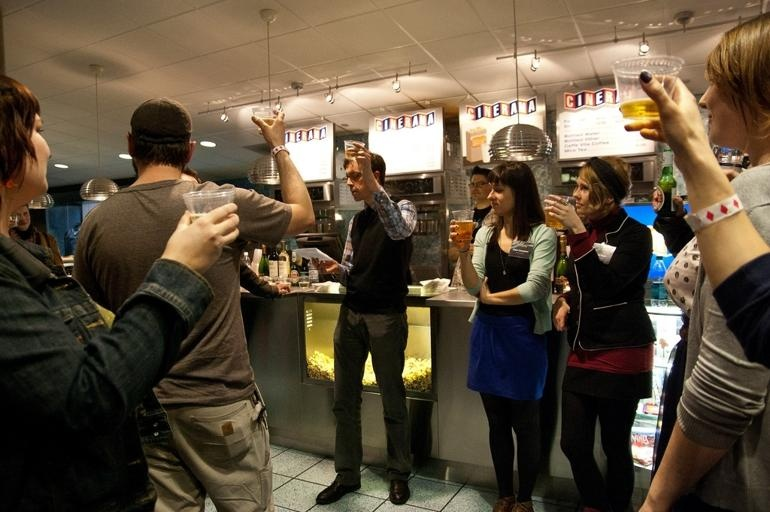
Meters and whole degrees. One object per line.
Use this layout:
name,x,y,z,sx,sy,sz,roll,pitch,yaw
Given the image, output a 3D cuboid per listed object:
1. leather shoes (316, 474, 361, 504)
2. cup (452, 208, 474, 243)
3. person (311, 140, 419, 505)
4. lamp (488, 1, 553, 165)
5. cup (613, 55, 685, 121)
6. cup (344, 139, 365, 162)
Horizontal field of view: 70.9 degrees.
leather shoes,-0.291,1.477,3.473,0.329,0.127,0.109,0,-2,-39
cup,0.454,-0.177,3.096,0.145,0.158,0.118,-1,1,14
person,-0.118,0.423,3.435,0.643,2.201,0.568,-3,6,14
lamp,1.192,-1.440,4.861,0.518,1.233,1.633,-3,6,14
cup,0.832,-0.515,1.721,0.197,0.147,0.189,-2,8,0
cup,-0.195,-0.613,3.134,0.167,0.116,0.134,7,8,36
